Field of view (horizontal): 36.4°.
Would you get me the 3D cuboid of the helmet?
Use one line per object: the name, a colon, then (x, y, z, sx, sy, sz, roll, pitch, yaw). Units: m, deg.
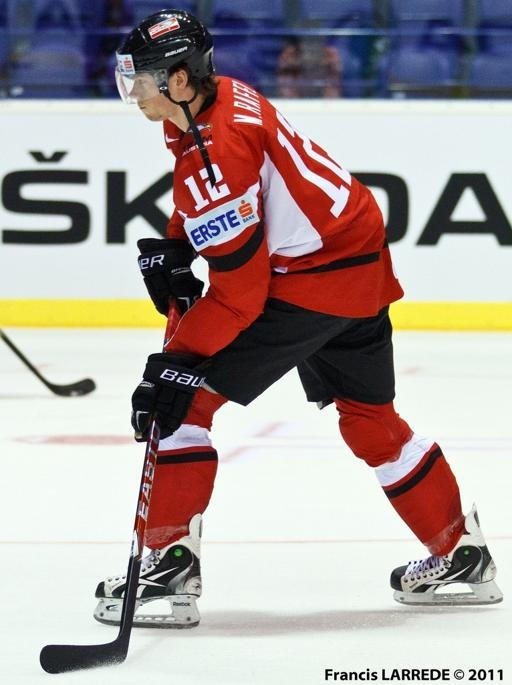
helmet: (-0.162, -0.519, 1.385, 0.191, 0.126, 0.125, -12, 44, -8)

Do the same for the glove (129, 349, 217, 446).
glove: (-0.167, 0.072, 1.381, 0.087, 0.184, 0.162, 26, 45, 37)
